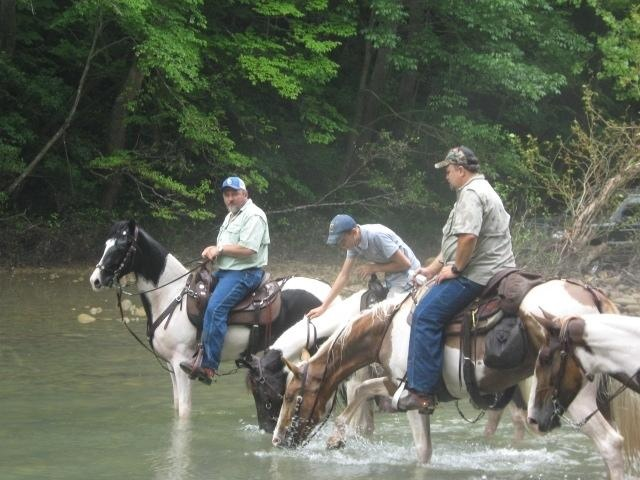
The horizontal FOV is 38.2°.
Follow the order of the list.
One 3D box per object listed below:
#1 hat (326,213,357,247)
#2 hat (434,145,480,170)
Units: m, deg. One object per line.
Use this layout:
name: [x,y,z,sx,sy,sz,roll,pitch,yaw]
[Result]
hat: [0.388,-0.166,16.256,0.476,0.515,0.279,0,13,-4]
hat: [2.303,-1.351,15.277,0.606,0.363,0.392,8,7,15]
